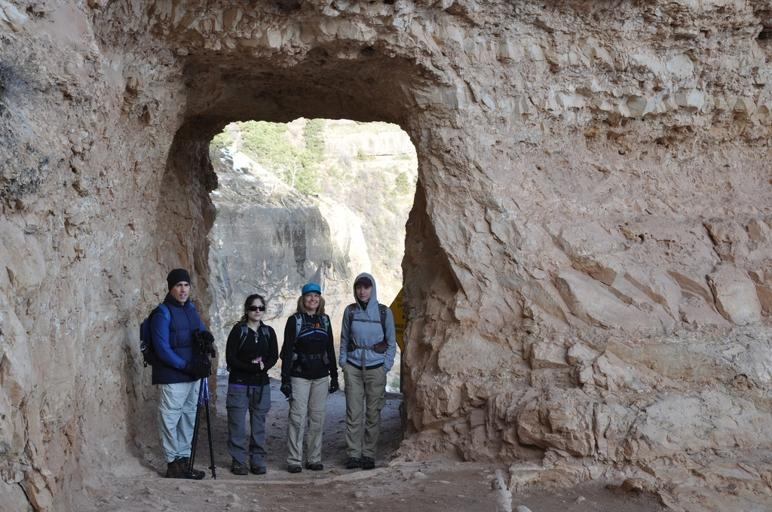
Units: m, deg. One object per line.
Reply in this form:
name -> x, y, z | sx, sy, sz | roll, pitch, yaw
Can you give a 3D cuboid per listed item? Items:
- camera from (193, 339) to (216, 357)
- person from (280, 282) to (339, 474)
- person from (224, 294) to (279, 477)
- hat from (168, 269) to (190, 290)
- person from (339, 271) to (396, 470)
camera -> -1.791, 0.896, 10.077 | 0.185, 0.076, 0.142 | 17, -18, 33
person -> -0.808, 1.304, 10.722 | 0.603, 2.020, 0.411 | -2, 14, -12
person -> -1.380, 1.357, 10.559 | 0.523, 1.934, 0.431 | -1, 14, -9
hat -> -2.043, 0.221, 10.080 | 0.208, 0.176, 0.159 | -2, 0, -18
person -> -0.203, 1.298, 10.971 | 0.595, 2.175, 0.585 | 1, 13, -2
